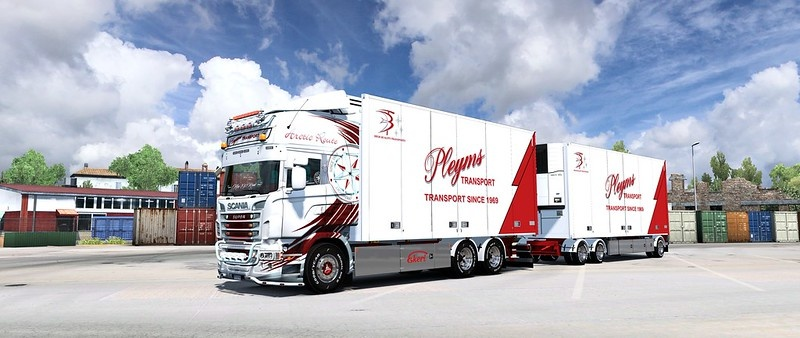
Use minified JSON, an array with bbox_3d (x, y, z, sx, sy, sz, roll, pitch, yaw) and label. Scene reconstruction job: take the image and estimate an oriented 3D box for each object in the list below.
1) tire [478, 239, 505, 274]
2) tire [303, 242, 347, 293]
[{"bbox_3d":[6.604,5.831,28.704,0.866,2.086,2.363,10,-23,-25],"label":"tire"},{"bbox_3d":[-3.970,5.837,25.442,3.174,2.606,1.125,-9,-14,28],"label":"tire"}]
